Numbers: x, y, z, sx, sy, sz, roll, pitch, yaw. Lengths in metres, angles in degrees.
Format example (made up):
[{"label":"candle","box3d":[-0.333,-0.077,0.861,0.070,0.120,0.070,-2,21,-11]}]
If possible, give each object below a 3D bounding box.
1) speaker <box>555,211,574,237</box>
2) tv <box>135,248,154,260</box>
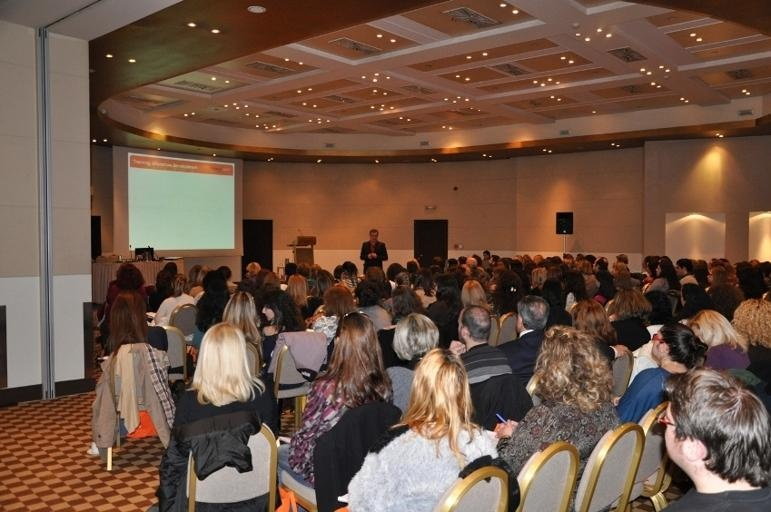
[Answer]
[{"label":"speaker","box3d":[5.724,-1.010,16.810,0.709,0.963,0.668,-1,-5,21]},{"label":"tv","box3d":[-6.464,-0.048,14.538,0.512,0.286,0.533,6,2,-18]}]
